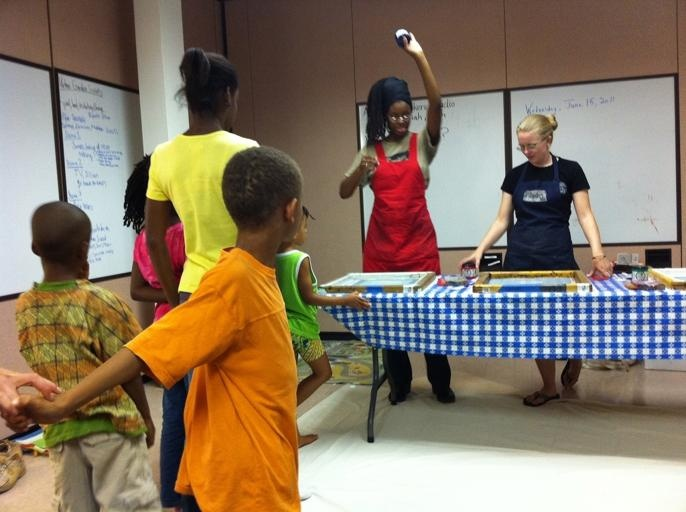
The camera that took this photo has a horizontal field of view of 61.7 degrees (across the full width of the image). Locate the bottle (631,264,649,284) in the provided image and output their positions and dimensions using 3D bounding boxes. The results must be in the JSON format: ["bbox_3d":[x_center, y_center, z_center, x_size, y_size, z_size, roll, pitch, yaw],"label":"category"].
[{"bbox_3d":[1.641,0.102,3.134,0.097,0.124,0.104,0,-6,0],"label":"bottle"}]

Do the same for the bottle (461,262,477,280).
[{"bbox_3d":[0.782,0.090,3.535,0.081,0.096,0.097,-1,-23,7],"label":"bottle"}]

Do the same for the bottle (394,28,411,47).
[{"bbox_3d":[0.365,-1.323,3.486,0.083,0.151,0.229,-2,6,3],"label":"bottle"}]

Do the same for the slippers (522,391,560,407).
[{"bbox_3d":[1.400,0.991,4.012,0.240,0.063,0.102,-3,5,-28],"label":"slippers"}]

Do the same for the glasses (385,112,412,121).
[{"bbox_3d":[0.354,-0.876,3.649,0.125,0.056,0.046,-2,6,8],"label":"glasses"}]
